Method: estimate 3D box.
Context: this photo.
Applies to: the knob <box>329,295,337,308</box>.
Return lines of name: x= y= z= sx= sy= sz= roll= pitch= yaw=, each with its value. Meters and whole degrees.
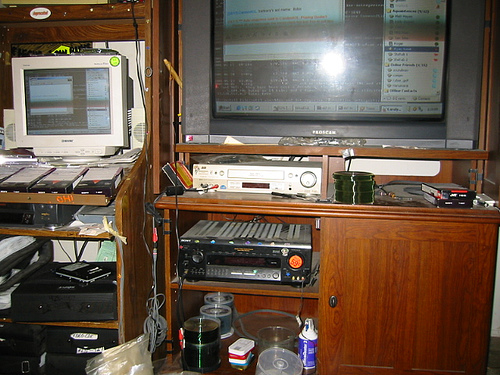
knob: x=0.363 y=0.504 z=1.806 sx=0.063 sy=0.054 sz=0.015 roll=0 pitch=-2 yaw=8

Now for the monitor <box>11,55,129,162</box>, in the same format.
monitor: x=-0.860 y=-0.391 z=2.145 sx=0.607 sy=0.500 sz=0.318 roll=2 pitch=6 yaw=9

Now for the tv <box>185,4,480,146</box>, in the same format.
tv: x=0.452 y=-0.570 z=1.995 sx=0.838 sy=0.451 sz=0.399 roll=1 pitch=3 yaw=7
